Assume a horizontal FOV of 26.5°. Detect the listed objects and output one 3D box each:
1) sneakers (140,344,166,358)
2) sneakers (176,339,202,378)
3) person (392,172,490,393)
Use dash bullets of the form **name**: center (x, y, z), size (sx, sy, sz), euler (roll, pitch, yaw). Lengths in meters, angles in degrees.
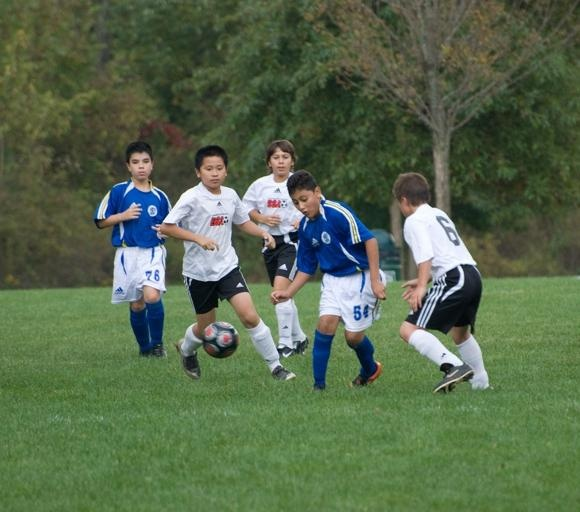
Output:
- **sneakers**: center (-1.906, 1.331, 17.319), size (0.371, 0.214, 0.154), euler (3, -4, 14)
- **sneakers**: center (-1.318, 1.437, 16.200), size (0.193, 0.602, 0.223), euler (-20, 1, -34)
- **person**: center (1.863, 0.323, 15.262), size (1.066, 2.737, 0.689), euler (-2, 4, 5)
